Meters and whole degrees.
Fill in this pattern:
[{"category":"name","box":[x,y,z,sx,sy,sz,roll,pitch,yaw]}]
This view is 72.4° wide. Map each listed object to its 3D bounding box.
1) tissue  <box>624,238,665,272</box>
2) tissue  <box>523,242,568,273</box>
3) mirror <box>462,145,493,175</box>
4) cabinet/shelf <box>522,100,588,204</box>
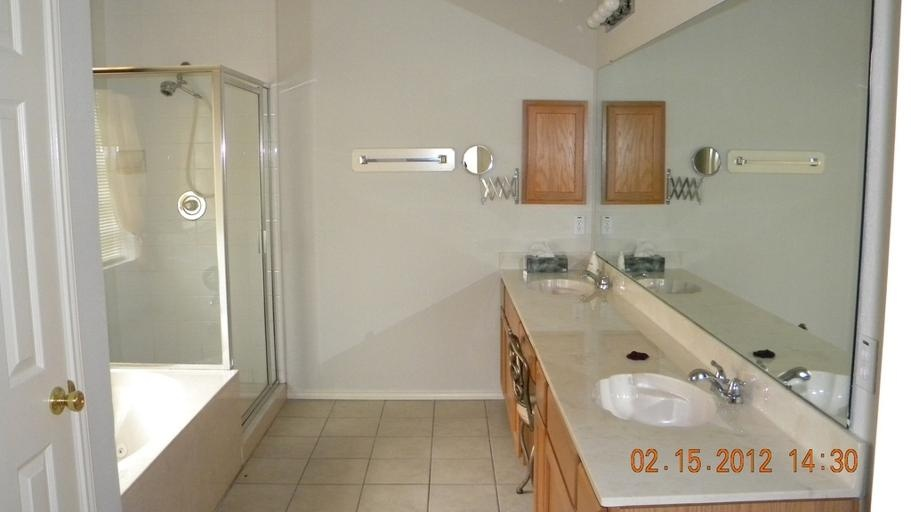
[{"category":"tissue ","box":[1.162,0.000,3.841,0.174,0.121,0.163,1,13,13]},{"category":"tissue ","box":[0.671,0.025,4.702,0.330,0.214,0.220,0,6,3]},{"category":"mirror","box":[0.179,-0.741,4.726,0.236,0.222,0.052,-2,12,-5]},{"category":"cabinet/shelf","box":[0.746,-0.791,4.716,0.456,0.762,0.137,1,12,7]}]
